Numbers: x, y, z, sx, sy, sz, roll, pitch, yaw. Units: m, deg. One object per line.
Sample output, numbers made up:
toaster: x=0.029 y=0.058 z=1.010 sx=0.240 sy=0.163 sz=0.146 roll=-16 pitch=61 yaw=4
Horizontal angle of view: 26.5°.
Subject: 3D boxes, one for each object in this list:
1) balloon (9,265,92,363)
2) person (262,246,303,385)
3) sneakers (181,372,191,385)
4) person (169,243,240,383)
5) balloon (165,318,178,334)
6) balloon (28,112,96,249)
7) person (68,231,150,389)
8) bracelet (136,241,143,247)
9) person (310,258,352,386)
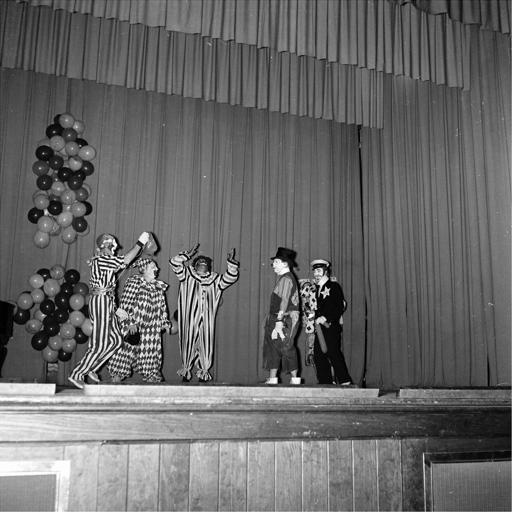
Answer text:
balloon: x=-1.837 y=0.505 z=9.870 sx=0.626 sy=0.944 sz=0.242 roll=10 pitch=-23 yaw=-32
person: x=0.217 y=0.496 z=9.262 sx=0.312 sy=1.264 sz=0.577 roll=0 pitch=-15 yaw=0
sneakers: x=-0.633 y=1.076 z=9.786 sx=0.082 sy=0.101 sz=0.290 roll=0 pitch=-18 yaw=-1
person: x=-0.492 y=0.518 z=9.768 sx=0.562 sy=1.140 sz=0.710 roll=1 pitch=-16 yaw=-4
balloon: x=-0.752 y=0.610 z=9.832 sx=0.115 sy=0.100 sz=0.057 roll=35 pitch=-46 yaw=-3
balloon: x=-1.826 y=-0.730 z=10.235 sx=0.524 sy=1.362 sz=0.346 roll=0 pitch=1 yaw=-23
person: x=-1.160 y=0.415 z=8.503 sx=0.577 sy=1.304 sz=0.419 roll=6 pitch=-16 yaw=-22
bracelet: x=-0.938 y=-0.103 z=8.748 sx=0.038 sy=0.035 sz=0.040 roll=11 pitch=-1 yaw=-25
person: x=0.668 y=0.588 z=9.665 sx=0.313 sy=1.162 sz=0.508 roll=-1 pitch=-15 yaw=3
